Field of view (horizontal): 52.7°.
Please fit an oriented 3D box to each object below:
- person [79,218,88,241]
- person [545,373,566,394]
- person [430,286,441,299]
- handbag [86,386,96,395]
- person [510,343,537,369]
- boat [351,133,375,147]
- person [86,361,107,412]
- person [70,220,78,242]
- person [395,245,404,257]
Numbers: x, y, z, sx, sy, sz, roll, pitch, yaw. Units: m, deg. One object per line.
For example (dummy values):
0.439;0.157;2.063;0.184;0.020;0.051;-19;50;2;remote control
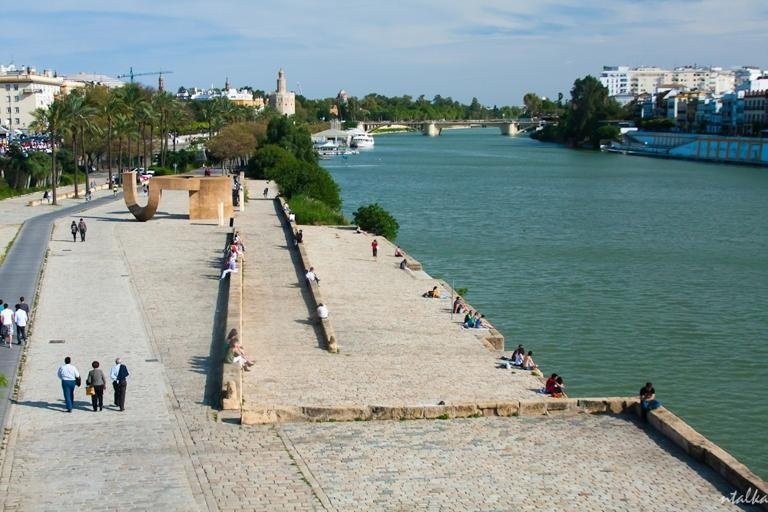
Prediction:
-21.160;-1.798;54.191;0.535;1.411;1.883;0;14;-23;person
6.864;5.165;31.212;0.646;0.704;0.751;6;13;4;person
2.977;2.173;46.044;0.731;0.974;0.482;0;0;-34;person
-10.390;4.754;27.386;0.316;0.068;0.307;-5;10;-38;handbag
6.488;4.604;35.019;1.273;0.928;1.030;-4;18;-41;person
-6.438;-33.310;226.890;3.011;2.718;9.865;0;2;14;boat
-10.305;4.521;27.616;0.607;1.979;1.014;0;14;-20;person
-21.549;-1.681;53.868;0.354;1.235;1.579;0;14;-23;person
1.201;-0.237;57.257;0.812;0.936;0.740;-5;11;-12;person
